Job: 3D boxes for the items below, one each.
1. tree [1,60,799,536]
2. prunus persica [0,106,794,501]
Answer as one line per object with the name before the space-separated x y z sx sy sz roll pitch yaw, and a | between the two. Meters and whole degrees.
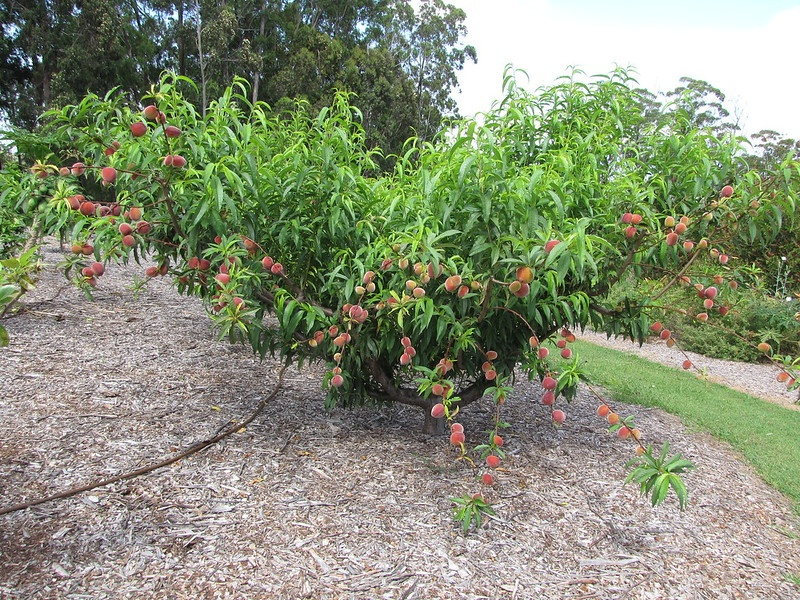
tree | 0.123 -0.442 5.293 4.450 2.934 3.562 0 -1 -3
prunus persica | 0.095 -0.315 4.122 4.430 2.809 1.482 10 8 0
